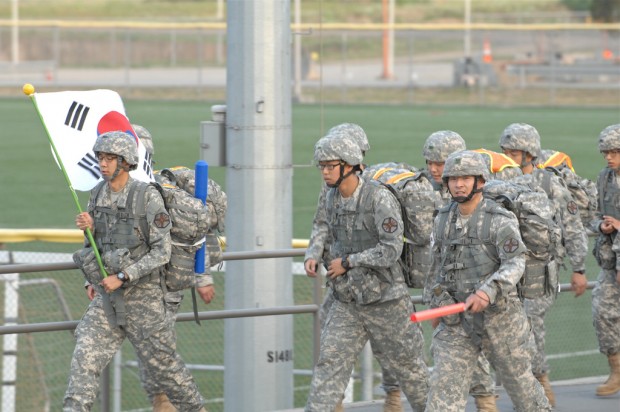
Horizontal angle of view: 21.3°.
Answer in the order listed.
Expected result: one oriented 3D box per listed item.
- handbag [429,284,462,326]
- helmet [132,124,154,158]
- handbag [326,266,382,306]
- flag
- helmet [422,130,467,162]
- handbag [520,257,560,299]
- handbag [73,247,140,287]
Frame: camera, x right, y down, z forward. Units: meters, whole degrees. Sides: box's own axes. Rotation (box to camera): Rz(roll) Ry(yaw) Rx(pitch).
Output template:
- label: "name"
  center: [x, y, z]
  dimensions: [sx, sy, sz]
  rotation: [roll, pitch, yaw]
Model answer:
- label: "handbag"
  center: [2.146, 1.533, 26.971]
  dimensions: [0.634, 0.600, 0.291]
  rotation: [8, 12, 8]
- label: "helmet"
  center: [-2.920, -1.112, 27.923]
  dimensions: [0.202, 0.527, 0.335]
  rotation: [-26, -5, 25]
- label: "handbag"
  center: [0.710, 1.288, 27.124]
  dimensions: [0.729, 0.336, 0.556]
  rotation: [-2, -41, 18]
- label: "flag"
  center: [-3.471, -1.143, 27.234]
  dimensions: [2.268, 2.051, 0.286]
  rotation: [-10, -9, 24]
- label: "helmet"
  center: [2.228, -1.039, 28.038]
  dimensions: [0.596, 0.345, 0.589]
  rotation: [-1, 3, 2]
- label: "handbag"
  center: [3.848, 1.176, 27.747]
  dimensions: [0.601, 0.689, 0.771]
  rotation: [2, -14, 1]
- label: "handbag"
  center: [-3.416, 0.910, 26.994]
  dimensions: [0.770, 0.709, 0.347]
  rotation: [4, 19, 11]
